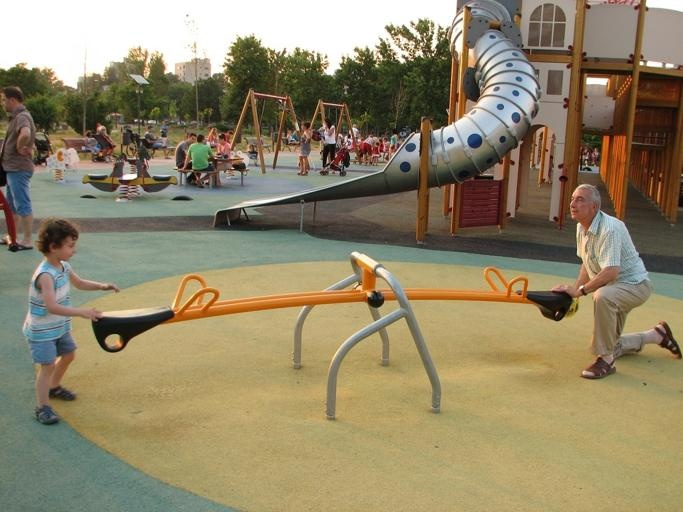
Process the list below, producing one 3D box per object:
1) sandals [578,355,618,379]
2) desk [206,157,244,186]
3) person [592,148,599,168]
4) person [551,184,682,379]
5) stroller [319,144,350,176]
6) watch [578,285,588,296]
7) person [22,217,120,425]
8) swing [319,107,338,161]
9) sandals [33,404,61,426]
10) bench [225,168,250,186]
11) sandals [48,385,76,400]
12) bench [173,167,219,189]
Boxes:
[{"bbox_3d":[2.327,1.017,5.873,0.361,0.132,0.141,-1,-3,-34],"label":"sandals"},{"bbox_3d":[-3.785,-2.726,20.813,1.199,0.512,1.127,0,8,3],"label":"desk"},{"bbox_3d":[20.234,-7.866,51.489,0.427,1.247,2.295,4,8,24],"label":"person"},{"bbox_3d":[2.534,0.195,6.115,1.178,1.709,0.572,-6,10,-40],"label":"person"},{"bbox_3d":[-0.100,-3.805,25.854,1.425,1.490,1.125,5,7,1],"label":"stroller"},{"bbox_3d":[2.168,0.309,5.828,0.060,0.080,0.087,-26,22,-5],"label":"watch"},{"bbox_3d":[-2.096,0.472,4.882,0.619,1.500,0.477,2,8,8],"label":"person"},{"bbox_3d":[-0.580,-4.511,25.943,0.641,1.923,0.863,1,-1,30],"label":"swing"},{"bbox_3d":[-2.176,1.180,4.783,0.197,0.077,0.104,4,2,42],"label":"sandals"},{"bbox_3d":[-3.611,-2.729,22.413,0.911,0.559,1.214,-1,10,-4],"label":"bench"},{"bbox_3d":[-2.196,1.087,5.112,0.252,0.104,0.086,2,3,-10],"label":"sandals"},{"bbox_3d":[-4.437,-2.446,20.119,1.380,0.605,1.325,0,7,-5],"label":"bench"}]
